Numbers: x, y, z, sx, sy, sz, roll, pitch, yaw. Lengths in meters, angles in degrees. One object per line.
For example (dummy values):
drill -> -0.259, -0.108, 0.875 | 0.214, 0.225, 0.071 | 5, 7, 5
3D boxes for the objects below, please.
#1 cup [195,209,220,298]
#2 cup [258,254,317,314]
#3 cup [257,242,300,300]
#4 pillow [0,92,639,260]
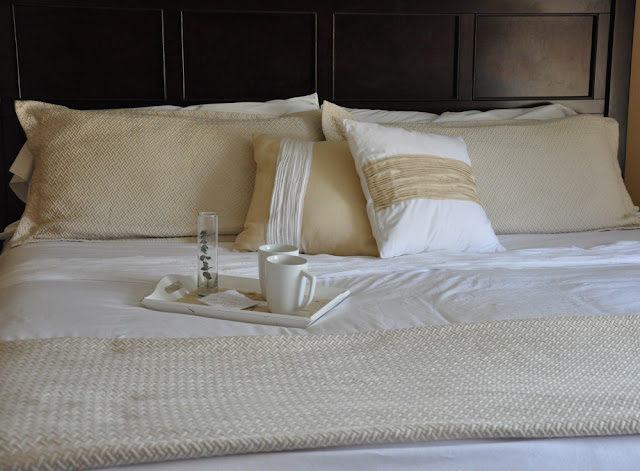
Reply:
cup -> -0.306, 0.049, 1.388 | 0.056, 0.203, 0.098 | -3, 14, -12
cup -> -0.085, 0.115, 1.262 | 0.114, 0.131, 0.169 | -6, 13, -36
cup -> -0.123, 0.085, 1.354 | 0.122, 0.122, 0.139 | 1, 19, -5
pillow -> 0.017, -0.263, 2.097 | 2.488, 0.512, 0.474 | 0, 13, -2
